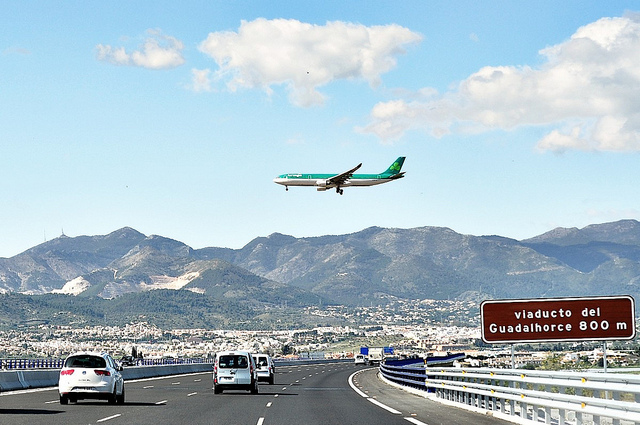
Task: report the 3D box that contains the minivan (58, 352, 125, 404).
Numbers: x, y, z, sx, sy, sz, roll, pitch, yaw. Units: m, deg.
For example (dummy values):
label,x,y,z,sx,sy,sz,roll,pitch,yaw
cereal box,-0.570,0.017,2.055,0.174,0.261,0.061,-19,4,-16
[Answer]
label,x,y,z,sx,sy,sz,roll,pitch,yaw
minivan,-11.806,8.541,45.456,3.138,2.548,5.442,0,-8,-3

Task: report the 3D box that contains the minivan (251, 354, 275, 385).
label,x,y,z,sx,sy,sz,roll,pitch,yaw
minivan,-4.511,11.838,67.969,1.940,2.132,3.810,-2,1,-1

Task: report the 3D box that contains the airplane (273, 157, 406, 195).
label,x,y,z,sx,sy,sz,roll,pitch,yaw
airplane,2.377,-4.967,106.935,16.111,5.394,16.423,1,6,1

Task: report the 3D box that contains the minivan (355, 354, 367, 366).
label,x,y,z,sx,sy,sz,roll,pitch,yaw
minivan,7.067,25.231,150.044,1.853,1.680,3.371,1,-1,0

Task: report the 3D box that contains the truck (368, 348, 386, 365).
label,x,y,z,sx,sy,sz,roll,pitch,yaw
truck,9.563,24.753,150.829,2.026,1.799,2.934,1,8,-1
